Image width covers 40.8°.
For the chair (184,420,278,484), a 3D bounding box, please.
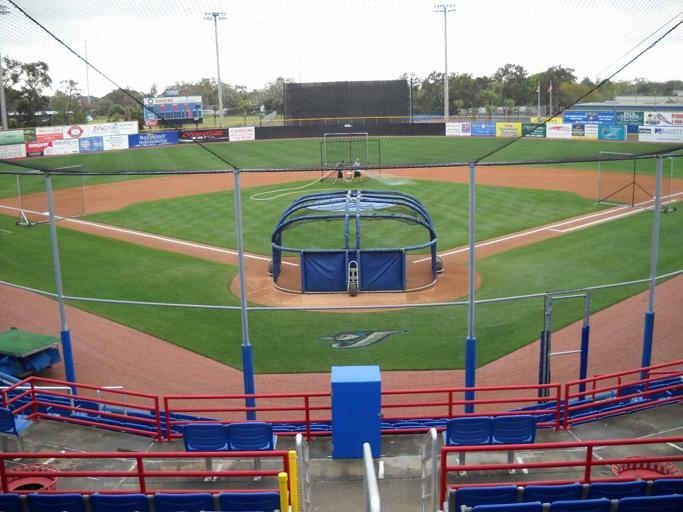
[{"bbox_3d":[-2.825,5.184,23.600,3.230,1.502,1.484,0,6,1],"label":"chair"}]
